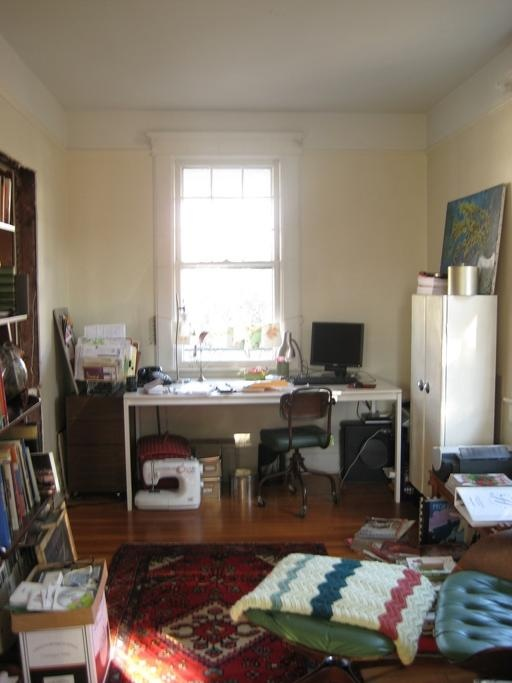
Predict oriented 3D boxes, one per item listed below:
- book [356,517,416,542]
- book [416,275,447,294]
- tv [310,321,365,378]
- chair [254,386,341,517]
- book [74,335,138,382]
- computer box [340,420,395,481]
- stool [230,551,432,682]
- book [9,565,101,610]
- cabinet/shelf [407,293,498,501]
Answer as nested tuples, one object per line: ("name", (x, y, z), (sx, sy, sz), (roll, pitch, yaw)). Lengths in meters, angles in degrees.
("book", (0.732, 1.085, 3.235), (0.253, 0.040, 0.448), (1, 4, 29))
("book", (1.063, -0.349, 3.396), (0.116, 0.131, 0.319), (-1, 4, -3))
("tv", (0.599, 0.040, 4.186), (0.371, 0.461, 0.152), (0, -4, 3))
("chair", (0.267, 0.667, 3.887), (0.554, 0.815, 0.906), (0, 4, 6))
("book", (-1.070, 0.122, 3.873), (0.319, 0.143, 0.341), (-1, 15, -3))
("computer box", (0.792, 0.758, 4.216), (0.385, 0.432, 0.420), (-1, 4, -1))
("stool", (0.295, 0.925, 1.994), (0.609, 0.183, 0.516), (1, 4, 29))
("book", (-0.696, 0.850, 1.943), (0.274, 0.055, 0.320), (-1, 4, -8))
("cabinet/shelf", (1.193, 0.334, 3.318), (0.382, 1.236, 0.645), (-1, 3, 0))
